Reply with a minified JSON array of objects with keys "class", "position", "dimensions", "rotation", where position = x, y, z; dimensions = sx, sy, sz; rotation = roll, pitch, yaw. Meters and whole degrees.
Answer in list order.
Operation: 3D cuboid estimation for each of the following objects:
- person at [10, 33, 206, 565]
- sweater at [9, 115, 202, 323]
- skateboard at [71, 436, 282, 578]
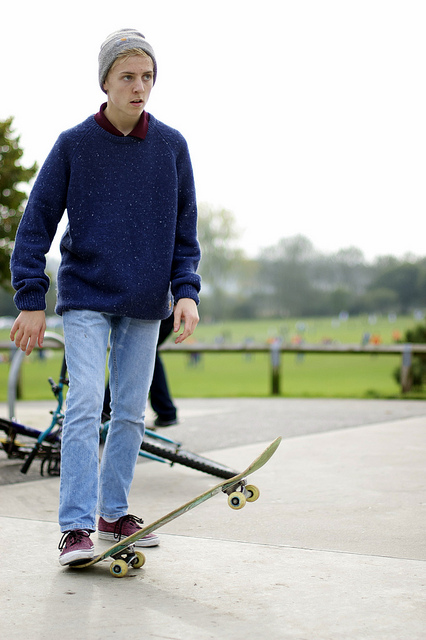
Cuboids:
[{"class":"person","position":[-0.332,-0.091,3.243],"dimensions":[0.584,1.724,0.483],"rotation":[2,-4,-25]},{"class":"sweater","position":[-0.333,-0.349,3.274],"dimensions":[0.600,0.672,0.246],"rotation":[3,-3,-5]},{"class":"skateboard","position":[-0.130,0.656,3.449],"dimensions":[0.539,0.097,0.114],"rotation":[-38,-14,-6]}]
